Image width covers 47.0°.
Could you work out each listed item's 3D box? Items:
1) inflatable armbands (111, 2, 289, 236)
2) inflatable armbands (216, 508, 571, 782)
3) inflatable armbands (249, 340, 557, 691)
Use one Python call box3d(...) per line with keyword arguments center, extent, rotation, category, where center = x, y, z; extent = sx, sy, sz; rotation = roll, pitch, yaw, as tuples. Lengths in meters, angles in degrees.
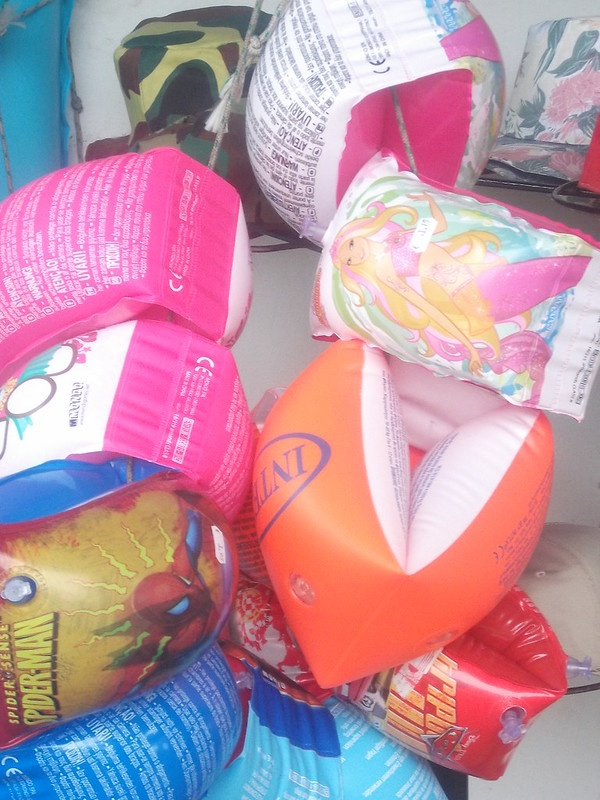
box3d(center=(-0.219, -0.609, 1.454), extent=(0.404, 0.373, 0.322), rotation=(-25, 50, 0), category="inflatable armbands")
box3d(center=(0.161, 0.373, 1.074), extent=(0.442, 0.181, 0.407), rotation=(37, 78, 2), category="inflatable armbands")
box3d(center=(0.125, 0.107, 0.943), extent=(0.438, 0.187, 0.503), rotation=(16, 50, -2), category="inflatable armbands")
